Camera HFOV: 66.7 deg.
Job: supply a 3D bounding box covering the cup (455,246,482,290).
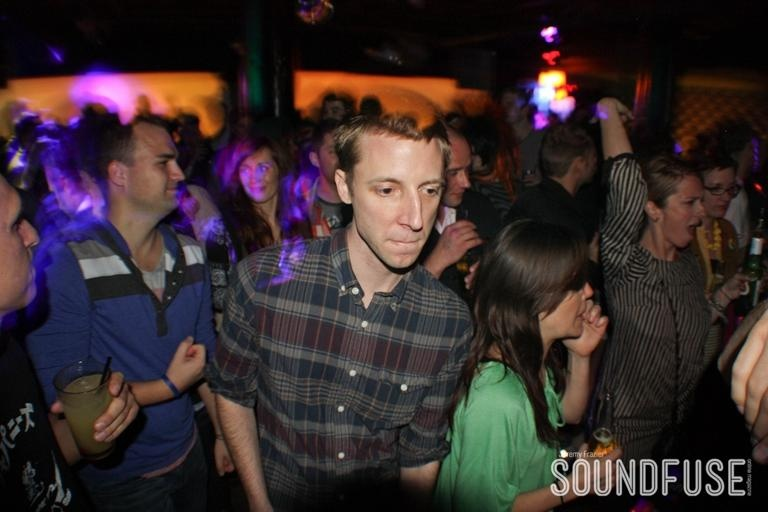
[{"bbox_3d":[0.686,0.093,4.543,0.117,0.322,0.251,38,-31,-23],"label":"cup"}]
